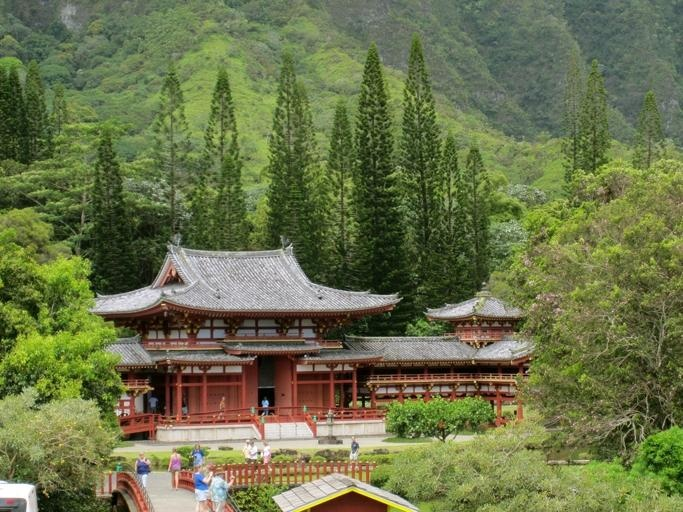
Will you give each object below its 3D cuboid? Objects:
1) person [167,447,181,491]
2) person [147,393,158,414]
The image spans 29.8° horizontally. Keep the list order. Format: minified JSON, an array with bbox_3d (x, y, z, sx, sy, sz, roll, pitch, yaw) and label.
[{"bbox_3d":[-7.805,9.914,60.234,0.498,1.678,1.430,2,13,-9],"label":"person"},{"bbox_3d":[-10.796,8.469,73.418,0.590,1.215,1.793,2,13,-6],"label":"person"}]
